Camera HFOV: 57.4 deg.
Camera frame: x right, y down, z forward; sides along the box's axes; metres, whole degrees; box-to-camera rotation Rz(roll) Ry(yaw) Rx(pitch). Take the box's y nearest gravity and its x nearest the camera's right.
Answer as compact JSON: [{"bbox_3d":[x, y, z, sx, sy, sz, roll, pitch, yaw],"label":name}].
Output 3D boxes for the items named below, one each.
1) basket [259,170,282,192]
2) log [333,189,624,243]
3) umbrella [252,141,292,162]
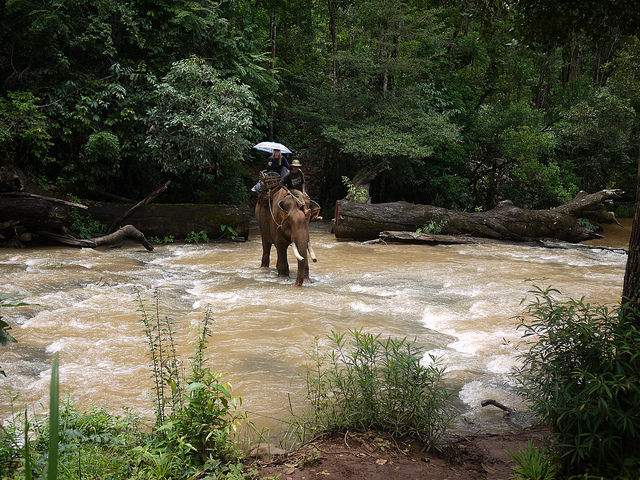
[{"bbox_3d":[-1.269,-1.408,14.935,0.422,0.598,0.252,7,42,2],"label":"basket"},{"bbox_3d":[5.812,-0.876,21.603,9.529,1.994,1.482,1,7,4],"label":"log"},{"bbox_3d":[-1.364,-2.636,16.444,0.884,0.342,0.884,8,5,14],"label":"umbrella"}]
